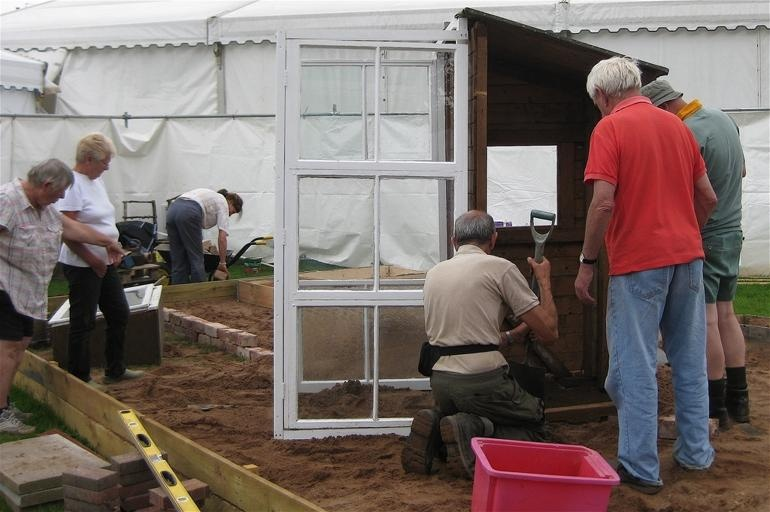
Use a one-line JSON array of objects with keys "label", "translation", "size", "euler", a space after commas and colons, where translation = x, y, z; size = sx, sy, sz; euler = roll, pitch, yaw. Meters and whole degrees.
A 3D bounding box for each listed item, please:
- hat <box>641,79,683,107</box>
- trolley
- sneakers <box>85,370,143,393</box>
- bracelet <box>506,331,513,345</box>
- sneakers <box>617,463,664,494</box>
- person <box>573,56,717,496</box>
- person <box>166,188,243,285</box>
[{"label": "hat", "translation": [2.479, -1.456, 7.542], "size": [0.302, 0.139, 0.298], "euler": [-28, 11, -8]}, {"label": "trolley", "translation": [-2.676, 0.103, 13.759], "size": [2.122, 0.903, 0.816], "euler": [1, 7, -13]}, {"label": "sneakers", "translation": [-2.817, 1.264, 8.827], "size": [0.561, 0.238, 0.171], "euler": [-13, 18, -28]}, {"label": "bracelet", "translation": [1.066, 0.710, 7.333], "size": [0.061, 0.096, 0.095], "euler": [0, -22, 8]}, {"label": "sneakers", "translation": [2.022, 1.786, 6.800], "size": [0.372, 0.163, 0.176], "euler": [3, 6, 24]}, {"label": "person", "translation": [2.119, 0.120, 6.867], "size": [1.126, 3.444, 0.540], "euler": [2, 3, 9]}, {"label": "person", "translation": [-2.576, -0.263, 11.893], "size": [1.002, 1.355, 0.941], "euler": [-1, 4, -35]}]
